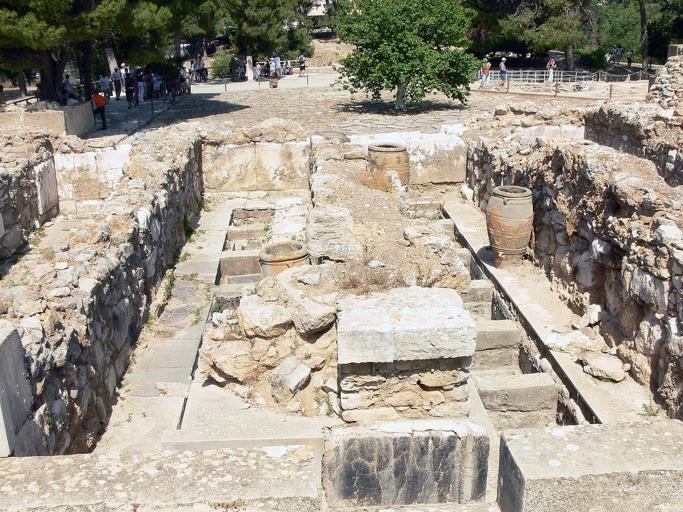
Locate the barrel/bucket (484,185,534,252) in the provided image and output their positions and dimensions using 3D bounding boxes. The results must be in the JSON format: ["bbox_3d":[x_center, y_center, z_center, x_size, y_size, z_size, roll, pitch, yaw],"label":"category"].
[{"bbox_3d":[2.473,-0.443,9.376,0.672,1.084,0.711,-1,20,0],"label":"barrel/bucket"}]

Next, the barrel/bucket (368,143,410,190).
[{"bbox_3d":[0.933,-1.695,12.031,0.776,0.868,0.830,-5,19,2],"label":"barrel/bucket"}]

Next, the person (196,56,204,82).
[{"bbox_3d":[-7.056,-9.238,31.663,0.453,1.098,1.619,-5,17,-12],"label":"person"}]
